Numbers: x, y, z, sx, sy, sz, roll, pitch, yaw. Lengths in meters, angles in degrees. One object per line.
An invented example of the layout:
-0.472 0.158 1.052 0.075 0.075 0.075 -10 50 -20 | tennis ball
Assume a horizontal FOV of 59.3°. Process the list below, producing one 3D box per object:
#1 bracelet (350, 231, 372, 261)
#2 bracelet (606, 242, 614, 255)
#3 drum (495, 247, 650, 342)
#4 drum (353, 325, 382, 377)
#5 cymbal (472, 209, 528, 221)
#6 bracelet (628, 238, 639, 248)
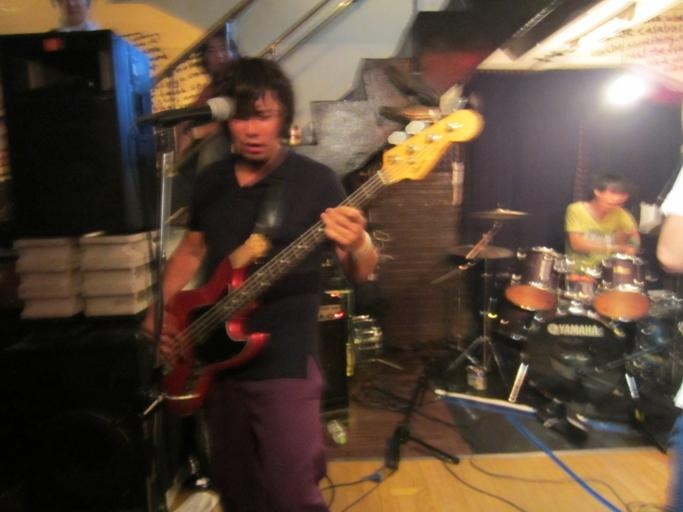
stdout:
0.085 -0.048 2.391 0.051 0.111 0.110 13 14 42 | bracelet
1.593 -0.047 3.563 0.013 0.062 0.060 35 -51 -27 | bracelet
1.356 0.239 3.530 0.624 0.239 0.543 26 -35 6 | drum
0.150 0.551 3.611 0.253 0.251 0.233 -1 4 12 | drum
1.045 -0.266 3.846 0.186 0.039 0.179 0 0 -35 | cymbal
1.755 -0.079 3.579 0.077 0.054 0.070 2 10 -3 | bracelet
